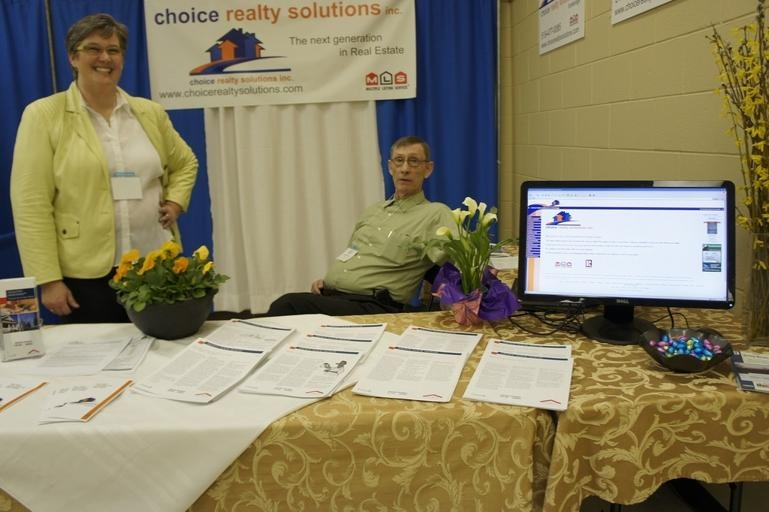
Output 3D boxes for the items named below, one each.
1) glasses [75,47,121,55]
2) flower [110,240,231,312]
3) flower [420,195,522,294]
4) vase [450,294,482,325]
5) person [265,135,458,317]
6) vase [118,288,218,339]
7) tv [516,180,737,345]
[{"bbox_3d":[-1.307,-0.942,2.601,0.171,0.033,0.041,-9,14,-26],"label":"glasses"},{"bbox_3d":[-0.863,0.078,2.189,0.326,0.167,0.308,-2,3,-28],"label":"flower"},{"bbox_3d":[0.327,-0.049,2.410,0.467,0.449,0.454,-6,21,-1],"label":"flower"},{"bbox_3d":[0.316,0.216,2.227,0.118,0.112,0.111,4,7,26],"label":"vase"},{"bbox_3d":[-0.041,-0.158,3.128,0.644,0.947,0.904,7,16,38],"label":"person"},{"bbox_3d":[-0.771,0.231,2.090,0.241,0.102,0.217,-1,3,-2],"label":"vase"},{"bbox_3d":[0.872,0.012,2.028,0.608,0.447,0.253,1,5,13],"label":"tv"}]
